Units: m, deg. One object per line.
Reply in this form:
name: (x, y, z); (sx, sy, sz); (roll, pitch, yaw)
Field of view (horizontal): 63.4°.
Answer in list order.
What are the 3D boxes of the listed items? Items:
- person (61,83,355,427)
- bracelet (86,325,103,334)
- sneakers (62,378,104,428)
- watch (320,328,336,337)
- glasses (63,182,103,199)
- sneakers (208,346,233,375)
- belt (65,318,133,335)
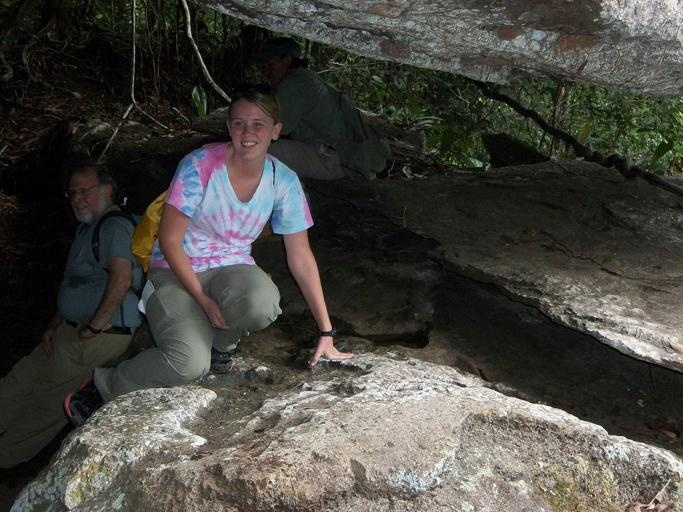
person: (-0.706, -0.056, 2.764); (1.206, 1.530, 0.785); (-4, 29, -23)
bracelet: (-1.412, 0.426, 3.174); (0.068, 0.024, 0.067); (20, -4, 29)
sneakers: (-1.258, 0.724, 2.701); (0.281, 0.092, 0.196); (-27, 39, -2)
watch: (-0.073, 0.419, 2.977); (0.087, 0.064, 0.074); (2, 25, 1)
glasses: (-1.544, -0.394, 3.363); (0.143, 0.035, 0.142); (-10, 2, 32)
sneakers: (-0.627, 0.558, 2.875); (0.162, 0.120, 0.099); (0, -10, 4)
belt: (-1.402, 0.431, 3.258); (0.218, 0.065, 0.155); (0, 9, -28)
